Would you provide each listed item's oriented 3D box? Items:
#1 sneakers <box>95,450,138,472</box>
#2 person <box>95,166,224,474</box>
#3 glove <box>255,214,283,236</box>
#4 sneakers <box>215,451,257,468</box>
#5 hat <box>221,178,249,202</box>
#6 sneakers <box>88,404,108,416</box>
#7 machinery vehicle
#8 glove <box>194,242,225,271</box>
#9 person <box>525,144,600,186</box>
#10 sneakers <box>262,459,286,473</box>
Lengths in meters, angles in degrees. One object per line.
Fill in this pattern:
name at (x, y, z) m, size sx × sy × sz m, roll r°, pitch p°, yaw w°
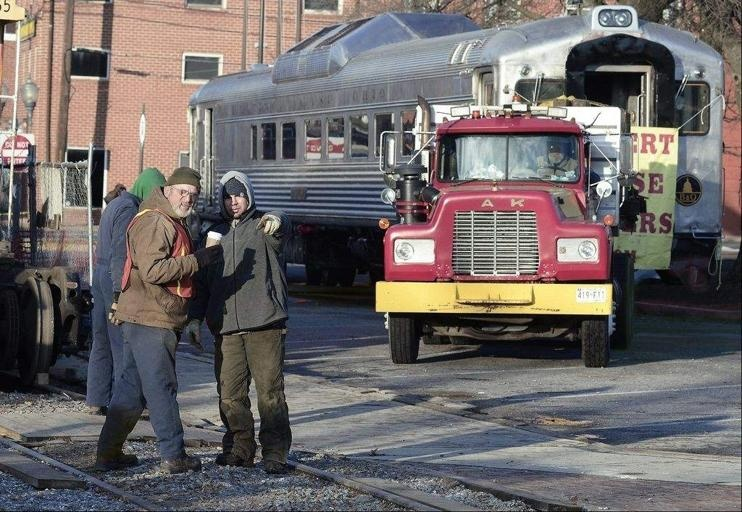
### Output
sneakers at (-2.401, 1.932, 12.852) m, size 0.396 × 0.187 × 0.162 m, roll -5°, pitch 9°, yaw -25°
person at (-2.020, 0.593, 12.737) m, size 1.072 × 2.832 × 0.547 m, roll 0°, pitch 6°, yaw -8°
glove at (-0.965, -0.301, 12.904) m, size 0.192 × 0.214 × 0.092 m, roll 1°, pitch -4°, yaw 14°
sneakers at (-1.313, 1.956, 12.943) m, size 0.282 × 0.126 × 0.161 m, roll 7°, pitch -1°, yaw -1°
hat at (-1.325, -0.644, 13.117) m, size 0.186 × 0.192 × 0.238 m, roll -3°, pitch -16°, yaw 0°
sneakers at (-2.956, 1.668, 14.613) m, size 0.134 × 0.096 × 0.187 m, roll 2°, pitch -1°, yaw -4°
machinery vehicle at (1.909, -0.213, 19.345) m, size 2.477 × 2.684 × 4.458 m, roll -1°, pitch -3°, yaw 7°
glove at (-1.525, 0.005, 12.707) m, size 0.226 × 0.262 × 0.476 m, roll 1°, pitch 7°, yaw -1°
person at (2.727, -1.323, 18.764) m, size 0.960 × 0.404 × 1.024 m, roll -20°, pitch 1°, yaw 29°
sneakers at (-0.906, 1.993, 12.777) m, size 0.164 × 0.111 × 0.064 m, roll 0°, pitch 14°, yaw 4°
